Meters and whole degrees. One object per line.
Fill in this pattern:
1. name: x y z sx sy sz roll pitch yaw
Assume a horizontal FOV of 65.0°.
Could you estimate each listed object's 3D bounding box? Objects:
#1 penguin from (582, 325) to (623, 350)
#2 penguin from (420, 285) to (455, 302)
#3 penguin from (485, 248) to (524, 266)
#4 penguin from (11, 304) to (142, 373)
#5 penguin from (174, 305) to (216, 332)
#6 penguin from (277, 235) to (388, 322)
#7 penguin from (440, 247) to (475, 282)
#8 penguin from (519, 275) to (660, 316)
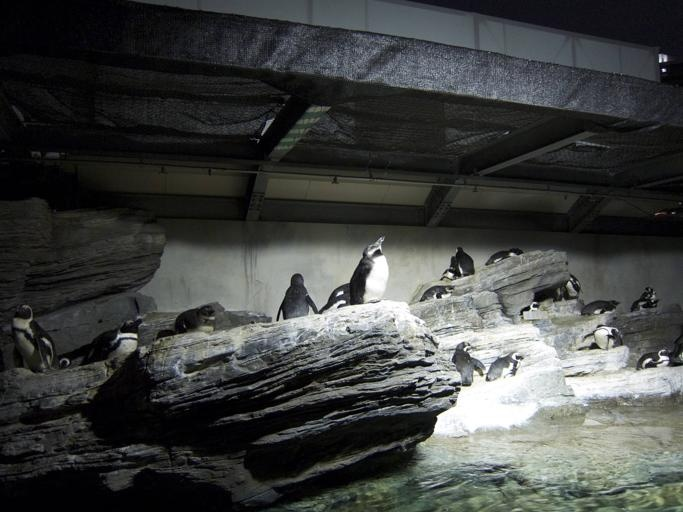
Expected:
1. penguin: 4.259 1.284 8.606 0.467 0.285 0.447 -18 10 -8
2. penguin: 1.750 0.676 9.800 0.527 0.232 0.554 -5 7 -26
3. penguin: 3.238 0.032 10.629 0.533 0.155 0.206 -15 -37 10
4. penguin: -3.357 1.028 6.927 1.530 1.019 1.378 -3 6 -6
5. penguin: -1.575 0.700 5.785 0.419 0.275 0.682 -5 7 -24
6. penguin: -0.217 0.409 7.113 1.174 1.300 3.422 -3 6 -8
7. penguin: 2.402 0.182 10.841 0.543 0.750 0.785 -1 -6 -31
8. penguin: 5.231 0.925 11.803 3.798 0.920 2.096 -1 -1 -7
